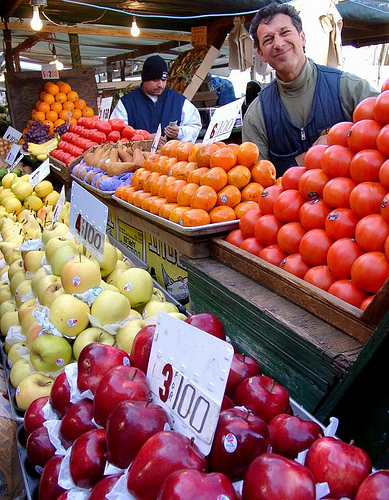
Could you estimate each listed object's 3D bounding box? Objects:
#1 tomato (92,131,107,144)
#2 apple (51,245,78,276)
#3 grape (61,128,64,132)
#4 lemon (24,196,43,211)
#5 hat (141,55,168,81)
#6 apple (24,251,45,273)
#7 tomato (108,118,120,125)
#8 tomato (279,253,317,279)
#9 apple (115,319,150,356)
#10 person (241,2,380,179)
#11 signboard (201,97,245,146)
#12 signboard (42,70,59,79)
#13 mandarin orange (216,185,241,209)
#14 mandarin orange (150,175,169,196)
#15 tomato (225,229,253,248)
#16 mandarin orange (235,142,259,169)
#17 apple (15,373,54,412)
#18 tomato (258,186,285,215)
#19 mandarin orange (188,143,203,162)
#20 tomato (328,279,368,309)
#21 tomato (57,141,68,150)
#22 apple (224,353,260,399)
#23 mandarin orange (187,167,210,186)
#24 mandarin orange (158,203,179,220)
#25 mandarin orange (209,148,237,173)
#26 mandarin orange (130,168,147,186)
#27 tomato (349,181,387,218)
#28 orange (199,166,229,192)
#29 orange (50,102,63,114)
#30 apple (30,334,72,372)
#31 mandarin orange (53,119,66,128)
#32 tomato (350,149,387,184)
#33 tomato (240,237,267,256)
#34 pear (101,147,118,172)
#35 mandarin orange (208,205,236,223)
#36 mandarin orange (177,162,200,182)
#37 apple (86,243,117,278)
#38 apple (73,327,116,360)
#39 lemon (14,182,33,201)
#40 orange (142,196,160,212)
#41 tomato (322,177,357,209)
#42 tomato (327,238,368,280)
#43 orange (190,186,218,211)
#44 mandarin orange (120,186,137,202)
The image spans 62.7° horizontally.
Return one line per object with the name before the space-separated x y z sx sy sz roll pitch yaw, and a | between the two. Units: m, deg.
tomato | -1.298 -1.533 4.460 0.170 0.161 0.195 -36 30 -11
apple | -0.664 0.044 1.679 0.143 0.167 0.141 6 0 11
grape | -2.574 -2.318 6.240 0.057 0.041 0.043 5 30 4
lemon | -1.758 -0.525 3.546 0.158 0.155 0.205 -13 25 -44
hat | -0.545 -2.502 4.522 0.338 0.335 0.358 -19 23 -22
apple | -0.961 0.043 1.938 0.130 0.150 0.128 -6 14 -38
tomato | -1.140 -1.828 4.565 0.130 0.123 0.126 -8 0 -5
tomato | 0.415 0.052 1.290 0.098 0.093 0.097 -8 31 -16
apple | -0.238 0.309 1.289 0.121 0.139 0.120 1 22 -43
person | 0.853 -1.203 2.593 0.930 1.241 0.436 21 35 29
signboard | 0.236 -1.108 2.794 0.265 0.397 0.476 -10 32 -20
signboard | -3.143 -3.749 6.940 0.321 0.205 0.044 -10 -12 -33
mandarin orange | 0.203 -0.318 1.949 0.128 0.121 0.127 -31 19 7
mandarin orange | -0.233 -0.482 2.410 0.050 0.146 0.146 24 -27 -20
tomato | 0.223 -0.071 1.694 0.091 0.101 0.089 1 9 -4
mandarin orange | 0.316 -0.577 1.964 0.139 0.158 0.145 -4 15 3
apple | -0.552 0.481 1.111 0.128 0.145 0.125 1 34 -28
tomato | 0.366 -0.242 1.610 0.133 0.152 0.135 -6 29 14
mandarin orange | 0.001 -0.662 2.193 0.123 0.143 0.117 8 14 16
tomato | 0.517 0.155 1.087 0.085 0.081 0.084 -8 37 -24
tomato | -2.139 -1.681 5.167 0.168 0.109 0.202 -10 15 19
apple | 0.117 0.328 0.905 0.099 0.110 0.094 1 10 -8
mandarin orange | 0.022 -0.468 2.039 0.096 0.068 0.127 4 7 30
mandarin orange | -0.180 -0.248 2.054 0.097 0.064 0.119 1 9 9
mandarin orange | 0.181 -0.550 2.019 0.150 0.144 0.140 -14 9 16
mandarin orange | -0.486 -0.630 2.788 0.124 0.080 0.154 -33 8 11
tomato | 0.590 -0.183 1.128 0.111 0.105 0.111 -34 31 -20
orange | 0.124 -0.425 1.986 0.161 0.149 0.155 -37 3 14
orange | -2.936 -2.995 6.877 0.205 0.226 0.201 -1 9 0
apple | -0.555 0.389 1.249 0.131 0.147 0.131 -8 4 31
mandarin orange | -2.891 -2.669 6.884 0.192 0.184 0.188 2 10 -1
tomato | 0.612 -0.288 1.159 0.122 0.113 0.114 -5 6 -20
tomato | 0.278 -0.025 1.543 0.094 0.089 0.091 5 20 7
pear | -0.919 -0.979 3.488 0.085 0.280 0.154 37 -22 -32
mandarin orange | 0.158 -0.207 1.837 0.112 0.099 0.108 6 30 12
mandarin orange | -0.032 -0.543 2.210 0.107 0.085 0.142 -30 7 27
apple | -0.445 0.041 1.731 0.159 0.153 0.189 10 2 17
apple | -0.348 0.309 1.100 0.095 0.091 0.097 29 33 -20
lemon | -1.917 -0.654 3.600 0.178 0.146 0.142 -41 3 -27
orange | -0.335 -0.346 2.320 0.066 0.112 0.113 32 -11 -30
tomato | 0.577 -0.227 1.256 0.135 0.118 0.126 17 23 30
tomato | 0.544 0.040 1.132 0.116 0.128 0.115 15 9 17
orange | 0.054 -0.308 1.948 0.150 0.161 0.127 -8 29 -22
mandarin orange | -0.546 -0.487 2.767 0.103 0.073 0.135 0 28 44
